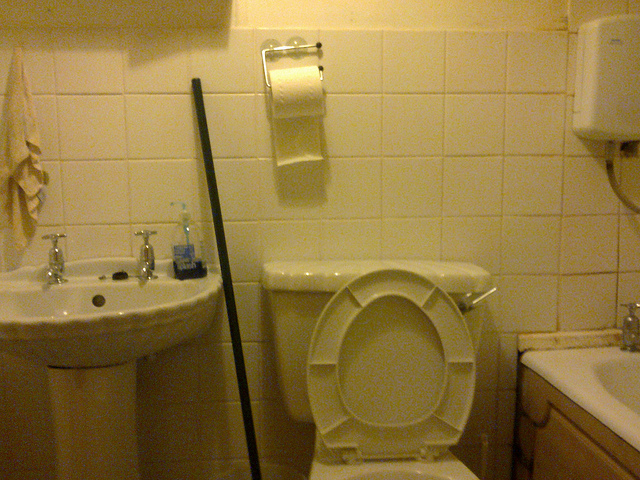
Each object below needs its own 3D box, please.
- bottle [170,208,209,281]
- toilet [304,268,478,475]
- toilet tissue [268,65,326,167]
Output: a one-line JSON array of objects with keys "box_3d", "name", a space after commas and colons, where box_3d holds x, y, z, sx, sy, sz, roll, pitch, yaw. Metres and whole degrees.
[{"box_3d": [-0.375, 0.011, 1.719, 0.154, 0.231, 0.153, -3, 2, 0], "name": "bottle"}, {"box_3d": [0.174, 0.304, 1.597, 0.419, 0.578, 0.530, -1, 13, -2], "name": "toilet"}, {"box_3d": [-0.071, -0.367, 1.630, 0.221, 0.329, 0.110, -10, 15, -8], "name": "toilet tissue"}]
